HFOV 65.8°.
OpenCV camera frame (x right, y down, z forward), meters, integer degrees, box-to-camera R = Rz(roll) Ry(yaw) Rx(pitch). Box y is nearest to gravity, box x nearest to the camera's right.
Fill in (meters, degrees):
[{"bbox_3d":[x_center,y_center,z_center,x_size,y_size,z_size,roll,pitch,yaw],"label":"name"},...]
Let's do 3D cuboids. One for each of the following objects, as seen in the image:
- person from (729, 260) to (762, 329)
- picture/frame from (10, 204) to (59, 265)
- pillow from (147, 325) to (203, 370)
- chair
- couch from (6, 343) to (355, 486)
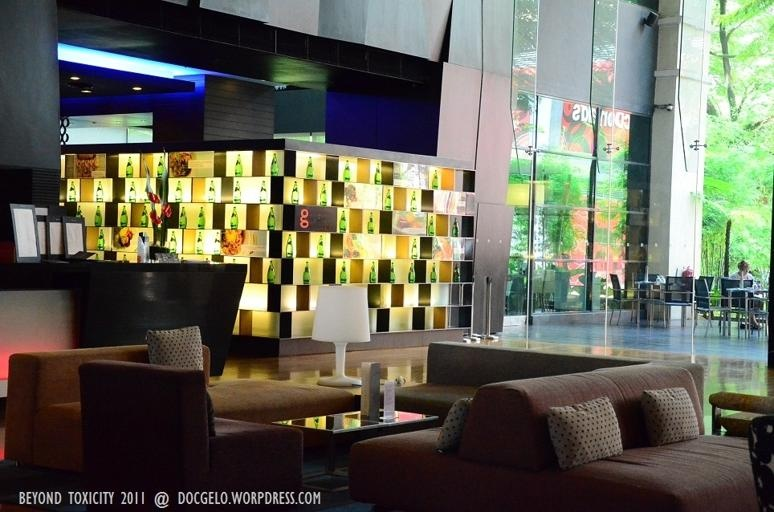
[{"bbox_3d":[6.040,0.670,10.131,0.523,1.146,0.127,0,-1,-16],"label":"person"},{"bbox_3d":[-3.957,-0.226,6.713,0.065,0.784,0.690,-2,-2,21],"label":"picture/frame"},{"bbox_3d":[-1.815,0.797,5.129,0.421,0.410,0.151,0,-6,-42],"label":"pillow"},{"bbox_3d":[4.787,1.023,11.140,3.738,1.261,0.770,-1,-2,44],"label":"chair"},{"bbox_3d":[-2.106,1.152,4.657,1.504,0.640,1.643,-3,-5,32],"label":"couch"}]
